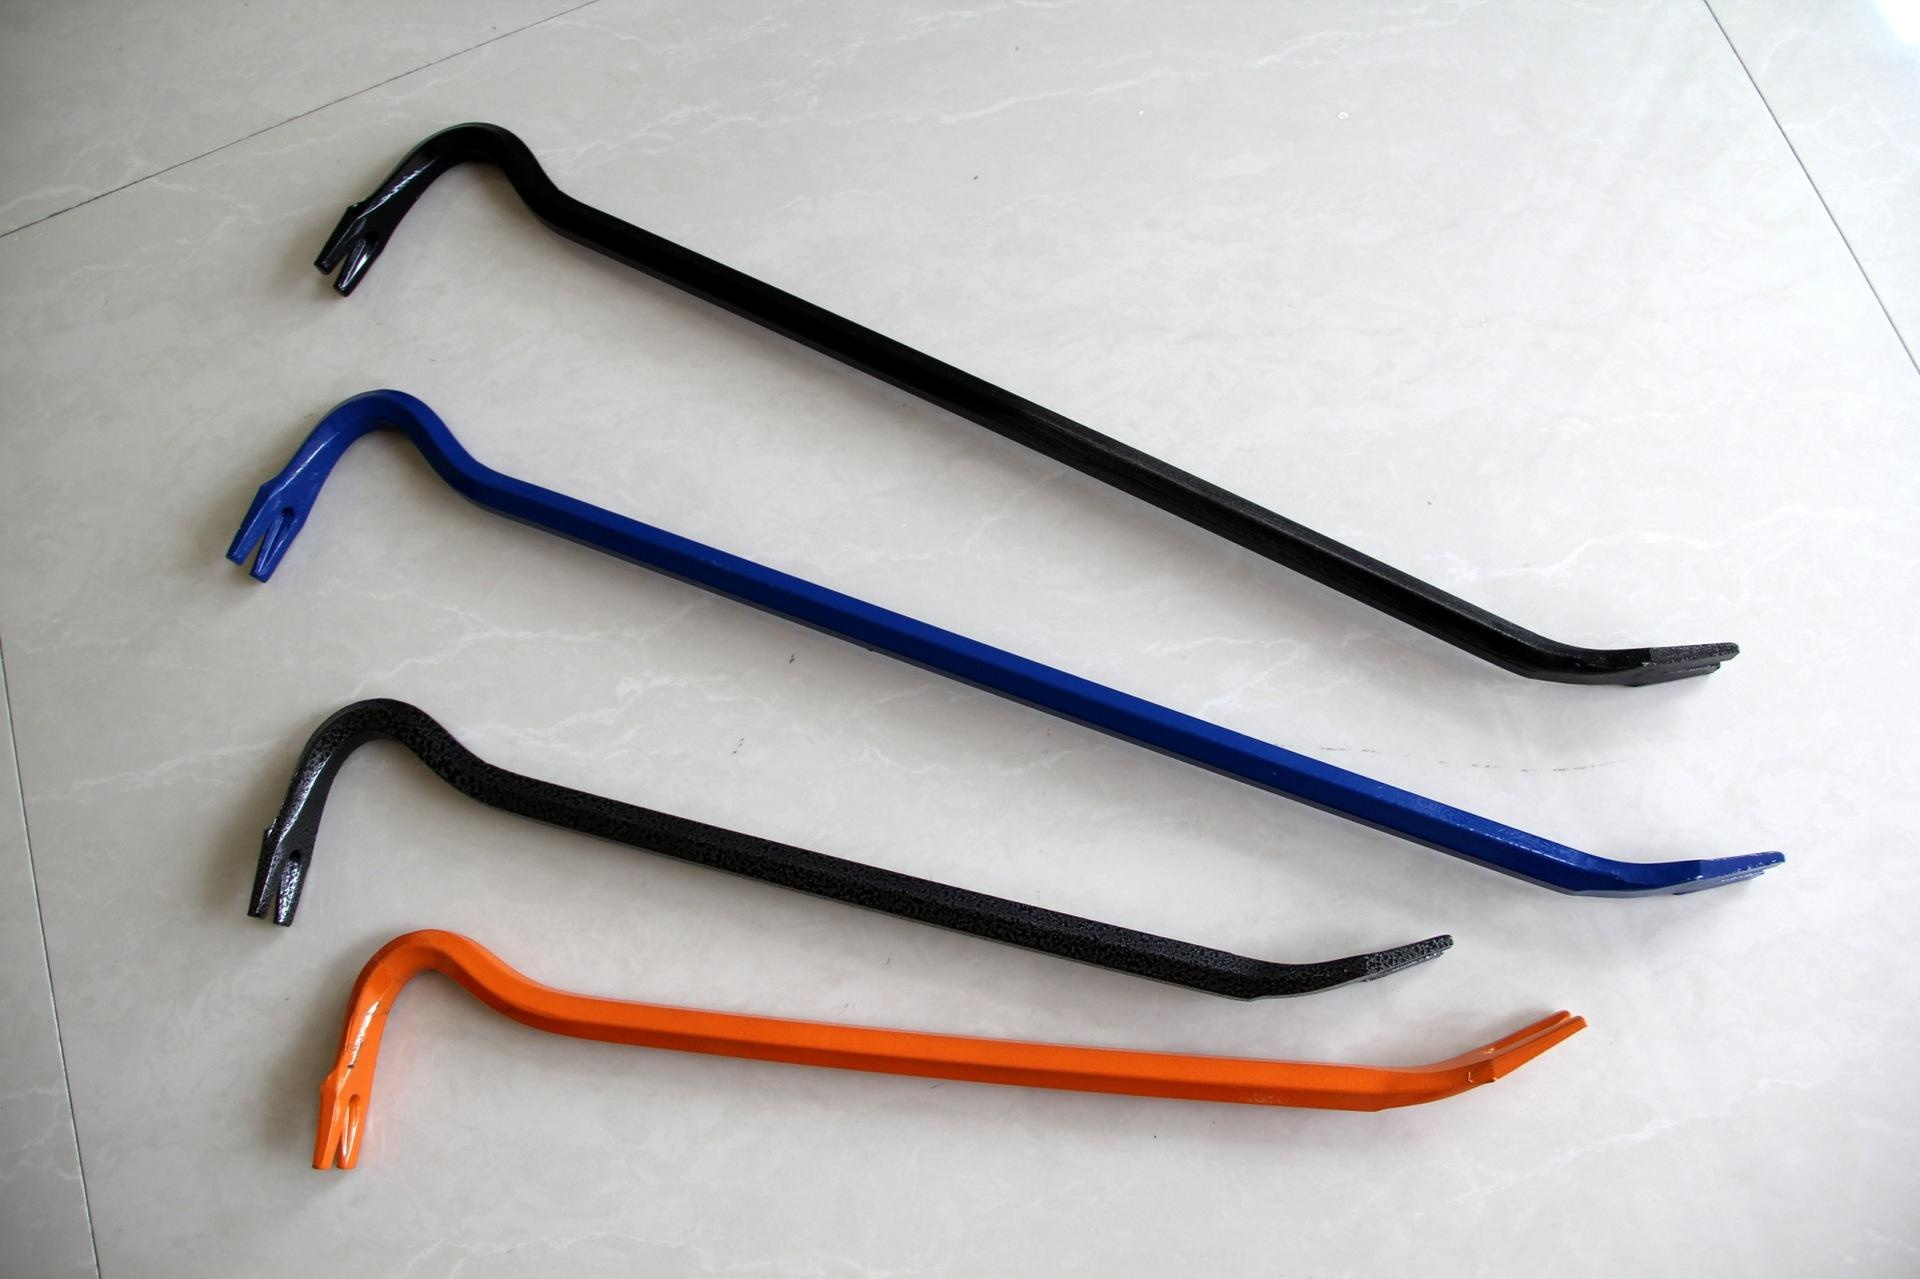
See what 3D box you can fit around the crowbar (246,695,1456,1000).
[{"bbox_3d":[-0.102,0.283,2.038,1.352,0.326,0.060,11,-60,-4],"label":"crowbar"}]
